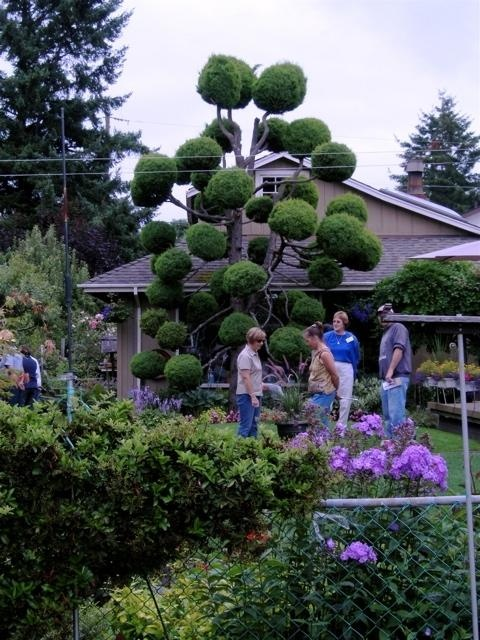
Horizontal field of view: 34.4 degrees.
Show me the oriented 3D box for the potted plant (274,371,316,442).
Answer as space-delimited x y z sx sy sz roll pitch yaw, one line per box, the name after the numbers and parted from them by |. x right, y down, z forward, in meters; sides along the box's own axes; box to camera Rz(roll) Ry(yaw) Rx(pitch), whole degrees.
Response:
0.588 1.031 9.077 0.451 0.770 0.493 -4 -5 43 | potted plant

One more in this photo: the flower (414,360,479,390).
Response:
2.751 0.752 10.534 0.819 0.337 0.817 3 -6 -20 | flower
